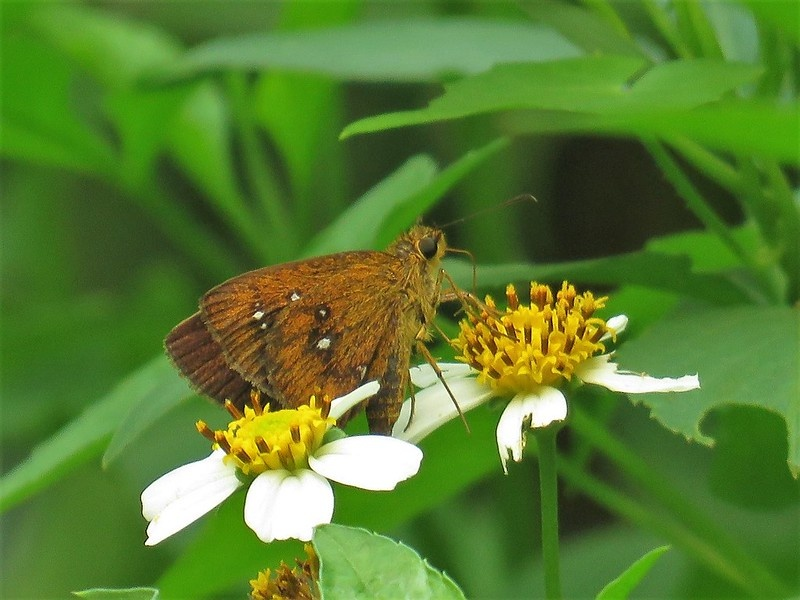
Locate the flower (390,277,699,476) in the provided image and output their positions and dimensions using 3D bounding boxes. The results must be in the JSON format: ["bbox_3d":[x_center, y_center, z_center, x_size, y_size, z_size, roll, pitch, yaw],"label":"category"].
[{"bbox_3d":[0.255,0.145,1.689,0.575,0.174,0.373,-17,39,-9],"label":"flower"}]

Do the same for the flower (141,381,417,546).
[{"bbox_3d":[-0.233,0.333,1.601,0.346,0.113,0.359,-22,17,15],"label":"flower"}]
